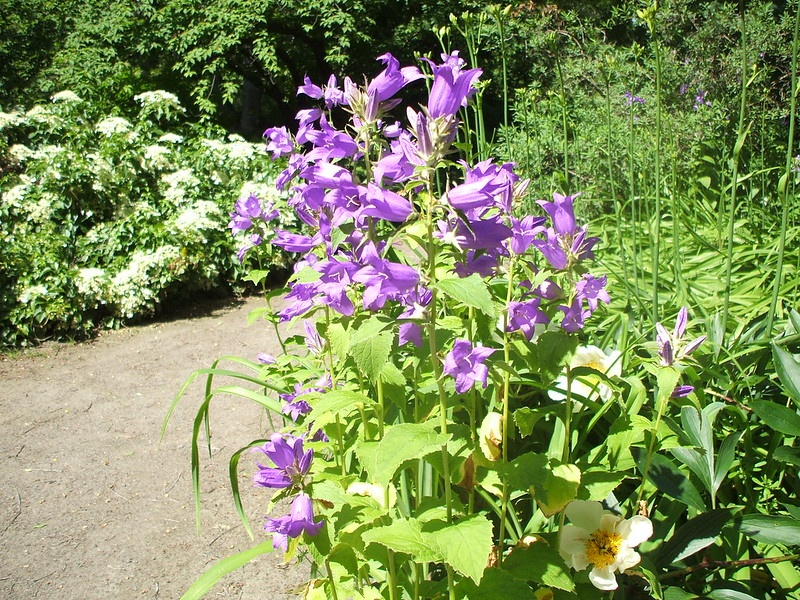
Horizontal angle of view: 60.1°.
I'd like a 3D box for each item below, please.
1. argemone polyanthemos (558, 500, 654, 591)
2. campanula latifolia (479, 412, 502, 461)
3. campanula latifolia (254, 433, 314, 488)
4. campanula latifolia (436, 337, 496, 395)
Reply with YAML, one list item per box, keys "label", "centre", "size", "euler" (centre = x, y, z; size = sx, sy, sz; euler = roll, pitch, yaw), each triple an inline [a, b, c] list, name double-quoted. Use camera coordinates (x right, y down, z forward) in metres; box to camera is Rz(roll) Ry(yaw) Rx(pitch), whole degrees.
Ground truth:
- label: "argemone polyanthemos"
  centre: [0.907, 1.090, 3.126]
  size: [0.389, 0.423, 0.172]
  euler: [7, -9, 33]
- label: "campanula latifolia"
  centre: [0.420, 0.625, 3.197]
  size: [0.052, 0.204, 0.145]
  euler: [4, -3, 7]
- label: "campanula latifolia"
  centre: [-0.560, 0.734, 3.142]
  size: [0.231, 0.155, 0.253]
  euler: [5, 59, 28]
- label: "campanula latifolia"
  centre: [0.286, 0.276, 2.997]
  size: [0.215, 0.229, 0.094]
  euler: [-32, 22, -4]
